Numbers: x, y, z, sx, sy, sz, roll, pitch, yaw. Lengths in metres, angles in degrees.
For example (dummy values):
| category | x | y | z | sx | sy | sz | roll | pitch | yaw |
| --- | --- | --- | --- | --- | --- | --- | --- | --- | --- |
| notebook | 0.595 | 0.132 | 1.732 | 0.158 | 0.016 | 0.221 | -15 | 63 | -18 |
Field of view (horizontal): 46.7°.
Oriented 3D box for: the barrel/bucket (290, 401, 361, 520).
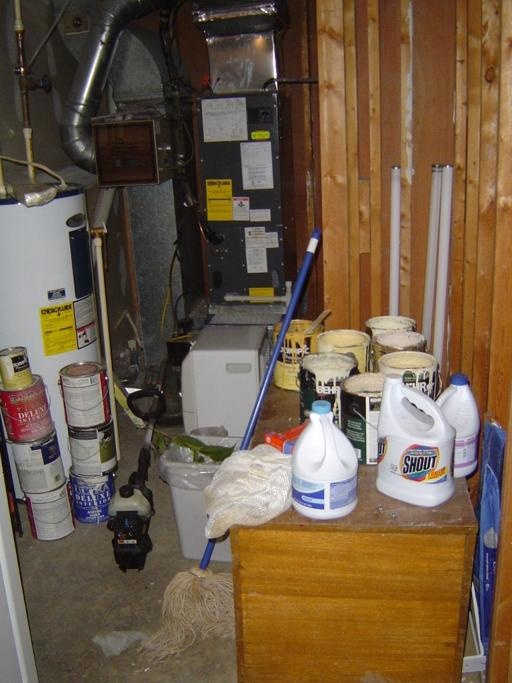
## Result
| category | x | y | z | sx | sy | sz | roll | pitch | yaw |
| --- | --- | --- | --- | --- | --- | --- | --- | --- | --- |
| barrel/bucket | 0.145 | 0.253 | 1.214 | 0.145 | 0.258 | 0.156 | -2 | 21 | 1 |

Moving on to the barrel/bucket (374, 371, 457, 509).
| category | x | y | z | sx | sy | sz | roll | pitch | yaw |
| --- | --- | --- | --- | --- | --- | --- | --- | --- | --- |
| barrel/bucket | 0.338 | 0.207 | 1.247 | 0.167 | 0.239 | 0.106 | 7 | 8 | 27 |

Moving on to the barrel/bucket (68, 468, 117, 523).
| category | x | y | z | sx | sy | sz | roll | pitch | yaw |
| --- | --- | --- | --- | --- | --- | --- | --- | --- | --- |
| barrel/bucket | -0.770 | 0.738 | 2.903 | 0.191 | 0.281 | 0.232 | 1 | 23 | -7 |

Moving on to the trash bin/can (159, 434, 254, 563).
| category | x | y | z | sx | sy | sz | roll | pitch | yaw |
| --- | --- | --- | --- | --- | --- | --- | --- | --- | --- |
| trash bin/can | -0.203 | 0.621 | 2.577 | 0.416 | 0.519 | 0.372 | -1 | 23 | -5 |

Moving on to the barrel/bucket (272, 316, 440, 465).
| category | x | y | z | sx | sy | sz | roll | pitch | yaw |
| --- | --- | --- | --- | --- | --- | --- | --- | --- | --- |
| barrel/bucket | 0.241 | 0.103 | 1.454 | 0.334 | 0.252 | 0.271 | 1 | 16 | 4 |

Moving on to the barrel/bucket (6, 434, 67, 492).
| category | x | y | z | sx | sy | sz | roll | pitch | yaw |
| --- | --- | --- | --- | --- | --- | --- | --- | --- | --- |
| barrel/bucket | -0.977 | 0.534 | 2.681 | 0.237 | 0.293 | 0.189 | 13 | 27 | 40 |

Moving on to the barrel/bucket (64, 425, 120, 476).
| category | x | y | z | sx | sy | sz | roll | pitch | yaw |
| --- | --- | --- | --- | --- | --- | --- | --- | --- | --- |
| barrel/bucket | -0.773 | 0.508 | 2.824 | 0.195 | 0.227 | 0.207 | -2 | 3 | 0 |
